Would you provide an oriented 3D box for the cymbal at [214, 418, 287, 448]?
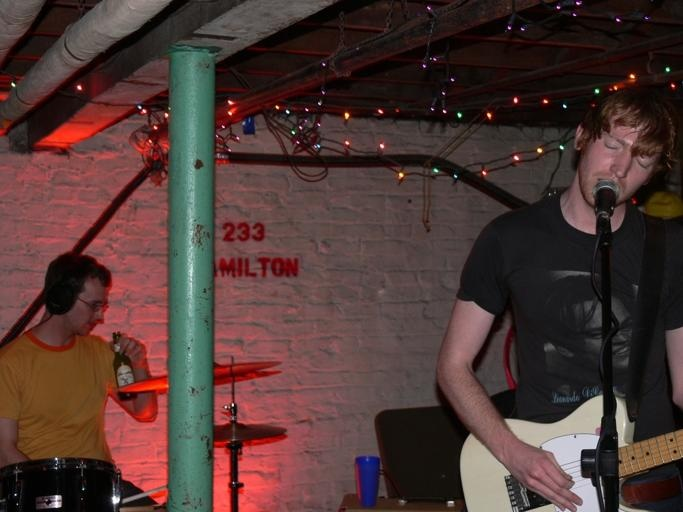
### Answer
[{"bbox_3d":[-0.535,1.052,4.786,0.440,0.156,0.799,1,-12,-6],"label":"cymbal"}]

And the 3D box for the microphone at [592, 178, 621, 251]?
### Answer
[{"bbox_3d":[0.878,-0.130,2.688,0.082,0.254,0.193,-5,-13,18],"label":"microphone"}]
